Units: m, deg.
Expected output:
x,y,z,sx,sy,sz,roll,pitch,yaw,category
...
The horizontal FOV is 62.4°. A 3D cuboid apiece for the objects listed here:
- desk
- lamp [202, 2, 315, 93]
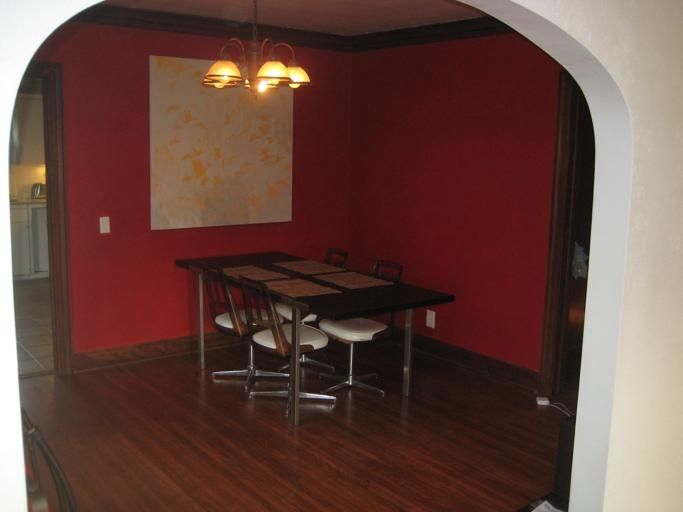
x,y,z,sx,sy,sz,roll,pitch,yaw,category
-0.296,0.572,4.945,1.337,1.038,2.211,-11,17,-42,desk
-0.710,-1.733,4.719,0.732,0.796,2.391,-1,13,-8,lamp
